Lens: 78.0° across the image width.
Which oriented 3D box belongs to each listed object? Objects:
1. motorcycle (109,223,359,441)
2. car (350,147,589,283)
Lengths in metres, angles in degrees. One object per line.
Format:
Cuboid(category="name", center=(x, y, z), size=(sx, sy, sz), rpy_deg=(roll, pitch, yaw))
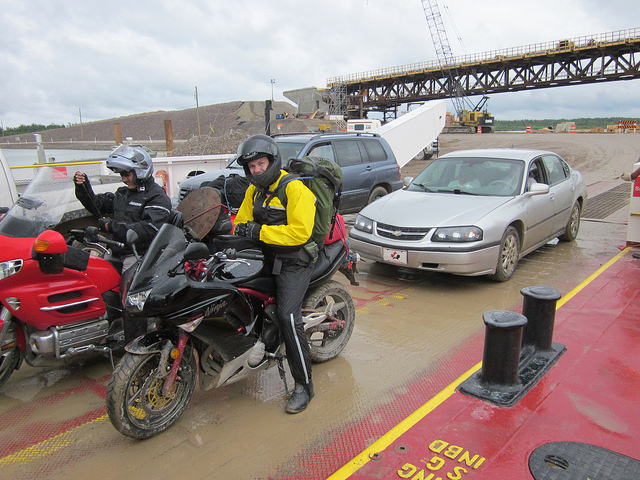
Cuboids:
Cuboid(category="motorcycle", center=(-0.541, 0.612, 3.555), size=(0.820, 1.528, 2.660), rpy_deg=(1, 5, 43))
Cuboid(category="car", center=(2.617, -0.538, 6.788), size=(4.128, 1.974, 1.988), rpy_deg=(-13, 18, -37))
